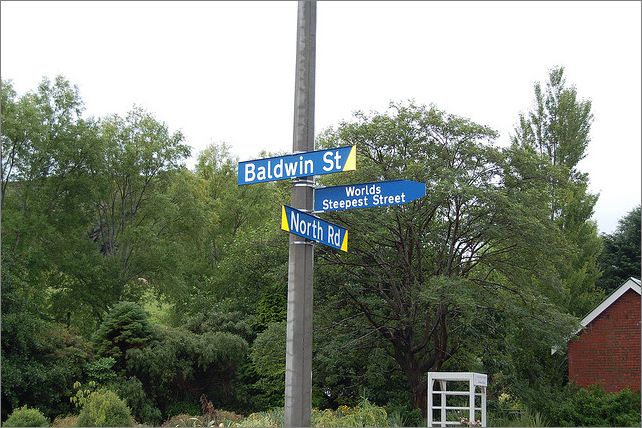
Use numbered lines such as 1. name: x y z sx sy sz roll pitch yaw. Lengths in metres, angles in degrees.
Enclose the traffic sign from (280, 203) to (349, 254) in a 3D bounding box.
1. traffic sign: -0.120 0.549 25.112 2.668 1.021 0.047 19 35 25
